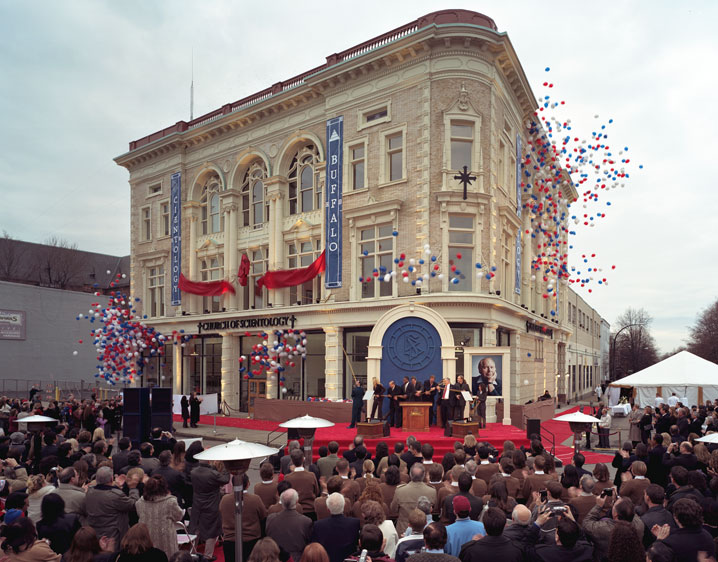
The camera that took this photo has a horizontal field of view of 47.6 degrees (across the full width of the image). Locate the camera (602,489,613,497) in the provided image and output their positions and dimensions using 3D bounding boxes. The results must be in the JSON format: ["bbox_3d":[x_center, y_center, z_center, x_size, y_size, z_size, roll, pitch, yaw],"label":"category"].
[{"bbox_3d":[5.299,4.428,17.296,0.243,0.150,0.113,4,-11,-9],"label":"camera"}]

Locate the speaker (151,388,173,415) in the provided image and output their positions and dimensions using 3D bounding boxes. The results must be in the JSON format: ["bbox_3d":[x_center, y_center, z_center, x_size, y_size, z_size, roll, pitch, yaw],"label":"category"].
[{"bbox_3d":[-6.881,4.118,28.420,0.719,1.106,0.519,3,-9,-30],"label":"speaker"}]

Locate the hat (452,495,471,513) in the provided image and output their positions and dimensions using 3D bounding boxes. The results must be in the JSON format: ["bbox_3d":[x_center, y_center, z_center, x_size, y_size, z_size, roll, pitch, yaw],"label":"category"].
[{"bbox_3d":[2.132,4.549,16.809,0.349,0.362,0.228,1,-11,6],"label":"hat"}]
